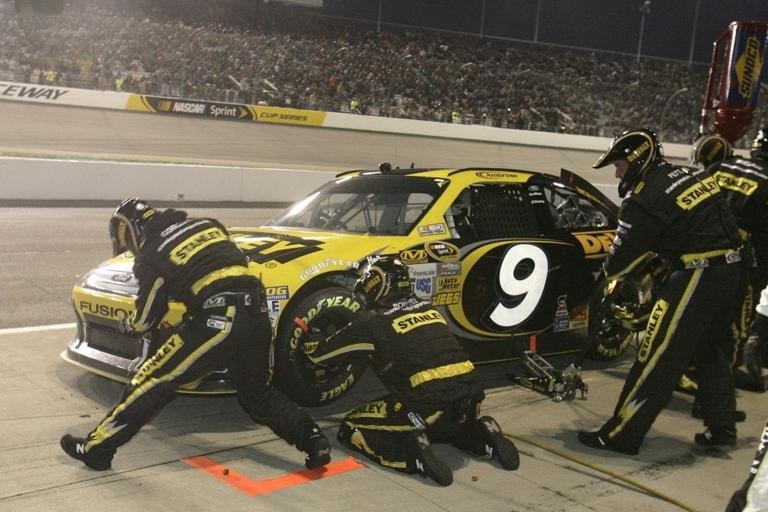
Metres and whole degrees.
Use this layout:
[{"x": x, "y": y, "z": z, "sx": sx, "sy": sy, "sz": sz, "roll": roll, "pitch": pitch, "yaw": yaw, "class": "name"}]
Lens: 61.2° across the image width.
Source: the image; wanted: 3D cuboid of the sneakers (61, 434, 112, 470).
[{"x": -2.149, "y": 1.413, "z": 4.676, "sx": 0.317, "sy": 0.210, "sz": 0.115, "roll": 43, "pitch": 21, "yaw": 7, "class": "sneakers"}]

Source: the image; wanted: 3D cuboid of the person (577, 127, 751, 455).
[{"x": 2.417, "y": 0.305, "z": 5.396, "sx": 1.384, "sy": 2.632, "sz": 0.787, "roll": 3, "pitch": 15, "yaw": -10, "class": "person"}]

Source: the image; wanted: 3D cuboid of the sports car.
[{"x": 0.085, "y": 0.136, "z": 6.450, "sx": 5.614, "sy": 1.434, "sz": 2.436, "roll": 2, "pitch": 5, "yaw": -25, "class": "sports car"}]

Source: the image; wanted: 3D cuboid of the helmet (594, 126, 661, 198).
[{"x": 2.125, "y": -0.808, "z": 5.462, "sx": 0.650, "sy": 0.453, "sz": 0.457, "roll": -12, "pitch": -1, "yaw": 17, "class": "helmet"}]
